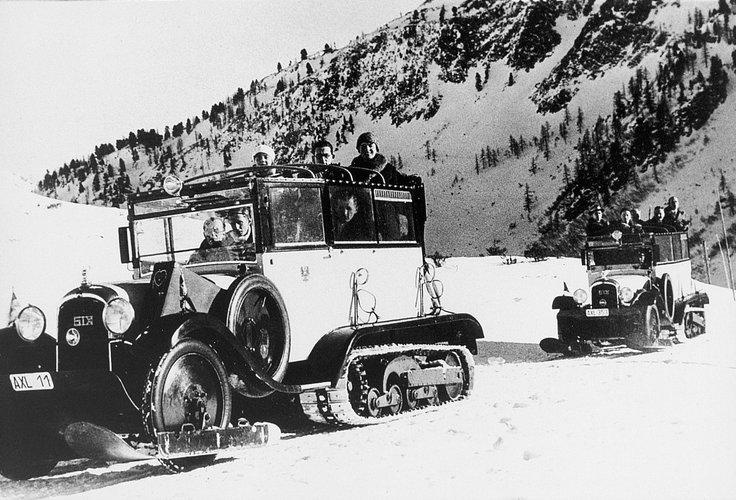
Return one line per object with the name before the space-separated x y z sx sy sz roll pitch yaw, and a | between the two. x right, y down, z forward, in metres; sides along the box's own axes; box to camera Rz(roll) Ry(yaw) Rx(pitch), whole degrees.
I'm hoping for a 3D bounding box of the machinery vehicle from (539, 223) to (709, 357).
machinery vehicle | 4.474 0.775 13.056 1.510 1.924 2.968 -8 -11 31
